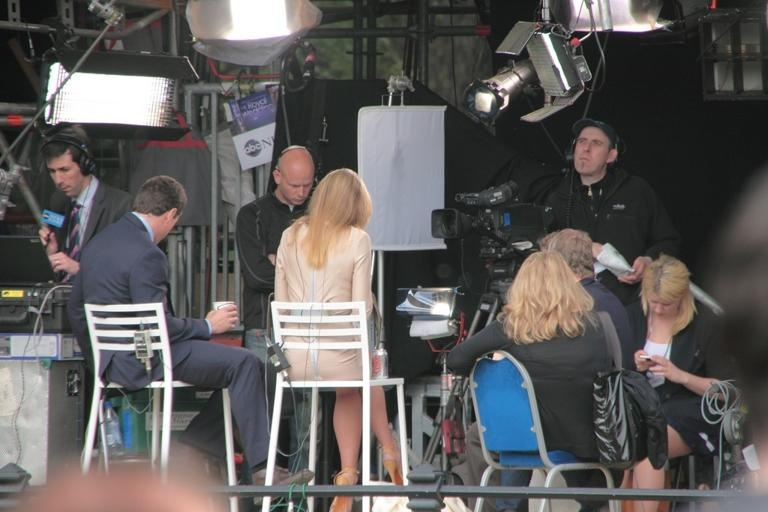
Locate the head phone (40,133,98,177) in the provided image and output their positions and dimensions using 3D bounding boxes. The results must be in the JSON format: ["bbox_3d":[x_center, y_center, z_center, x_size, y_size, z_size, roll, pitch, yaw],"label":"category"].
[{"bbox_3d":[-2.239,-0.697,9.809,0.365,0.282,0.122,3,-39,-22],"label":"head phone"}]

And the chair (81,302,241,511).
[{"bbox_3d":[-1.453,0.964,8.954,0.922,1.313,0.989,1,0,-12],"label":"chair"}]

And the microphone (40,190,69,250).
[{"bbox_3d":[-2.354,-0.240,9.987,0.148,0.488,0.150,27,-34,-24],"label":"microphone"}]

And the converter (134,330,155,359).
[{"bbox_3d":[-1.522,0.573,8.858,0.127,0.188,0.058,1,0,-12],"label":"converter"}]

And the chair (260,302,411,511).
[{"bbox_3d":[-0.298,0.984,8.956,0.901,0.964,0.728,1,0,0],"label":"chair"}]

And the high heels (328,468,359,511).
[{"bbox_3d":[-0.273,1.527,8.853,0.177,0.131,0.510,-7,10,12],"label":"high heels"}]

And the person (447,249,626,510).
[{"bbox_3d":[0.972,0.614,8.750,0.850,1.173,0.285,1,0,25],"label":"person"}]

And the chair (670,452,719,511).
[{"bbox_3d":[2.076,1.487,9.339,0.406,0.474,0.184,4,-6,3],"label":"chair"}]

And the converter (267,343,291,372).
[{"bbox_3d":[-0.668,0.653,8.938,0.146,0.175,0.067,-21,7,21],"label":"converter"}]
